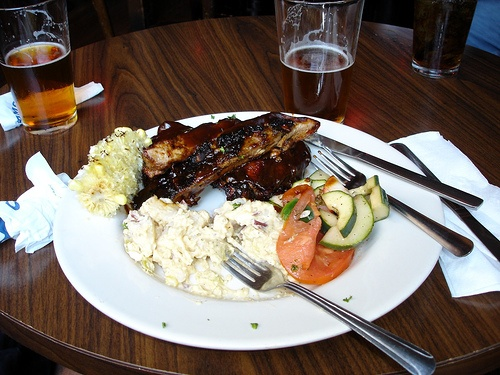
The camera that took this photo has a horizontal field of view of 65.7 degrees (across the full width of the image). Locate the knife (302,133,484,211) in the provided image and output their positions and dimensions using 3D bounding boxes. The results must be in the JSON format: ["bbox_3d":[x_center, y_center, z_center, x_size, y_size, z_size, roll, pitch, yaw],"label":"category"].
[{"bbox_3d":[0.719,-0.065,1.935,0.741,0.053,0.086,29,66,29],"label":"knife"}]
